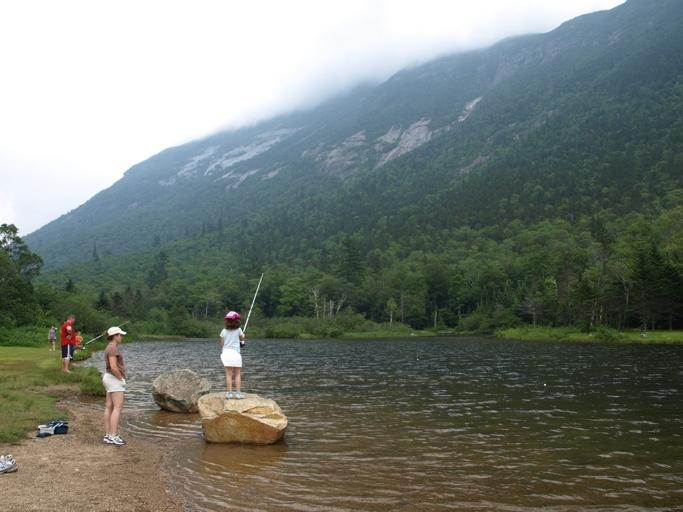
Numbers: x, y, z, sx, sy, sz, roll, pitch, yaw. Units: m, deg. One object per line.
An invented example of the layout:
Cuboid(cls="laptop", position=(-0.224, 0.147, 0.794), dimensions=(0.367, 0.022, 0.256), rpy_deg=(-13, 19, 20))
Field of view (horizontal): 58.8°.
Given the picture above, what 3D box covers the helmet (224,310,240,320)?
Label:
Cuboid(cls="helmet", position=(-4.977, 2.743, 27.994), dimensions=(0.522, 0.158, 0.537), rpy_deg=(-6, 4, -39))
